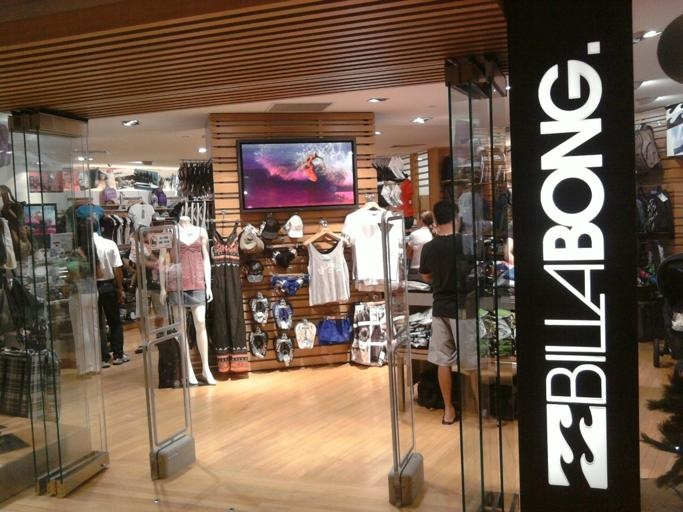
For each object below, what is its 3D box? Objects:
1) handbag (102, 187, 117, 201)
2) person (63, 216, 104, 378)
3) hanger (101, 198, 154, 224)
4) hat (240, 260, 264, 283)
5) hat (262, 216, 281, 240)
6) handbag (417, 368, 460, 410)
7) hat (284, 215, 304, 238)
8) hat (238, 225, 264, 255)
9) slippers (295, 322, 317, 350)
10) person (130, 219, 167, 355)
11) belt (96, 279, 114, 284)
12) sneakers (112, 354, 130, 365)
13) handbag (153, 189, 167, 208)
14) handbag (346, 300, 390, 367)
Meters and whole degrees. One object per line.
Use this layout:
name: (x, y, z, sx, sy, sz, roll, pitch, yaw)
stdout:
handbag: (-4.808, -1.305, 10.589, 0.168, 0.304, 0.270, -3, 0, 38)
person: (-2.238, 0.357, 4.470, 0.082, 1.364, 0.303, -1, 5, 15)
hanger: (-4.344, -0.905, 10.345, 1.151, 0.188, 1.007, 5, 22, -10)
hat: (-1.176, 0.204, 6.875, 0.240, 0.315, 0.313, 0, -11, -29)
hat: (-0.944, -0.363, 6.943, 0.206, 0.313, 0.161, 6, -12, -34)
handbag: (1.025, 1.468, 5.391, 0.516, 0.475, 0.281, -7, -42, 30)
hat: (-0.632, -0.401, 6.997, 0.230, 0.327, 0.177, -4, -13, -16)
hat: (-1.209, -0.217, 6.840, 0.358, 0.438, 0.226, -1, 10, 0)
slippers: (-0.482, 1.070, 7.072, 0.306, 0.406, 0.143, -3, 5, -5)
person: (-1.653, 0.264, 4.431, 0.241, 1.050, 0.479, -4, 5, -20)
belt: (-3.288, 0.339, 7.094, 0.171, 0.044, 0.161, 0, -4, -43)
sneakers: (-3.312, 1.556, 7.753, 0.101, 0.110, 0.257, 5, 8, 37)
handbag: (-3.927, -1.286, 11.170, 0.167, 0.427, 0.337, -1, 5, 23)
handbag: (0.394, 0.953, 7.240, 0.546, 0.949, 0.620, -3, 23, -3)
